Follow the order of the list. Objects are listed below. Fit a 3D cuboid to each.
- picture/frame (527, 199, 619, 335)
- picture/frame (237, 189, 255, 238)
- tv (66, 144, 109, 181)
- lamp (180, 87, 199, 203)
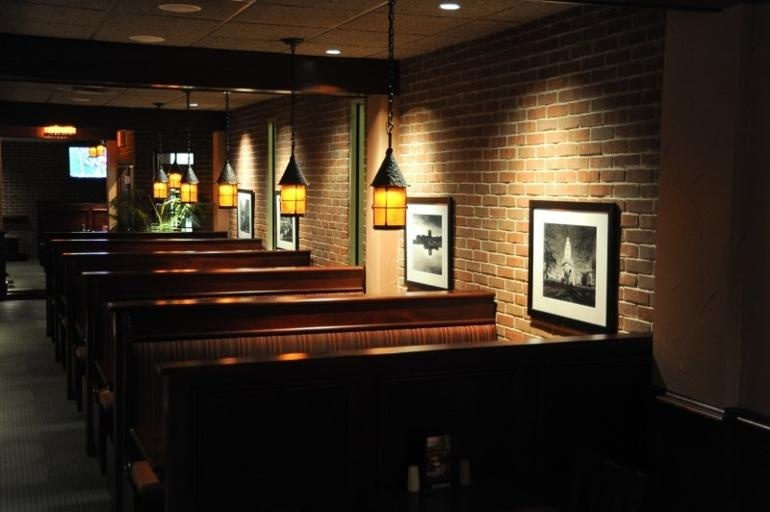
[{"bbox_3d":[1.450,0.075,4.622,0.041,1.030,1.053,-2,5,-21],"label":"picture/frame"},{"bbox_3d":[-2.544,-0.799,10.751,0.075,1.065,0.941,-1,1,-26],"label":"picture/frame"},{"bbox_3d":[-9.095,-2.916,18.057,1.446,1.215,0.133,0,1,15],"label":"tv"},{"bbox_3d":[-3.133,-1.802,9.470,0.379,1.846,0.360,-6,13,-43],"label":"lamp"}]
